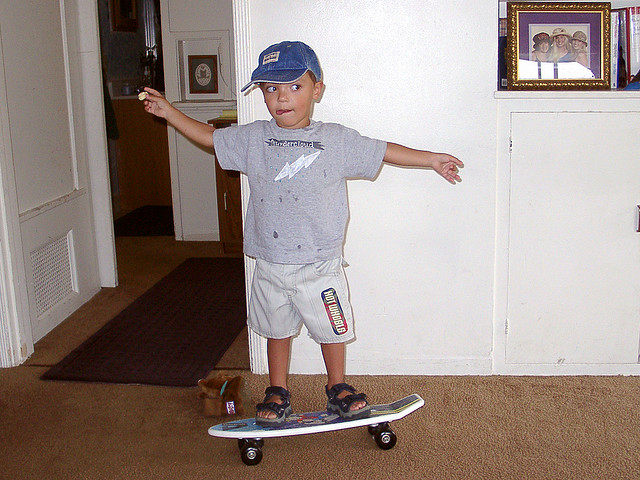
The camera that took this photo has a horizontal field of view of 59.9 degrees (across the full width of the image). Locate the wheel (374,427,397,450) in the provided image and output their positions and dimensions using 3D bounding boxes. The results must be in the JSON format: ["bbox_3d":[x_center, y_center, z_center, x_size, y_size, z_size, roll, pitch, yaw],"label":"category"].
[{"bbox_3d":[0.250,0.761,2.132,0.072,0.073,0.078,12,-1,0],"label":"wheel"}]

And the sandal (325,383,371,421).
[{"bbox_3d":[0.105,0.609,2.167,0.119,0.108,0.230,-3,7,-18],"label":"sandal"}]

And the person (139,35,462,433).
[{"bbox_3d":[-0.102,-0.025,2.144,1.017,1.418,0.484,6,15,14],"label":"person"}]

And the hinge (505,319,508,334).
[{"bbox_3d":[0.857,0.399,2.569,0.015,0.062,0.009,2,14,0],"label":"hinge"}]

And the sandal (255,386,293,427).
[{"bbox_3d":[-0.170,0.638,2.194,0.094,0.114,0.226,-3,3,21],"label":"sandal"}]

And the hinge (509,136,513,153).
[{"bbox_3d":[0.836,-0.423,2.443,0.016,0.067,0.007,3,14,2],"label":"hinge"}]
